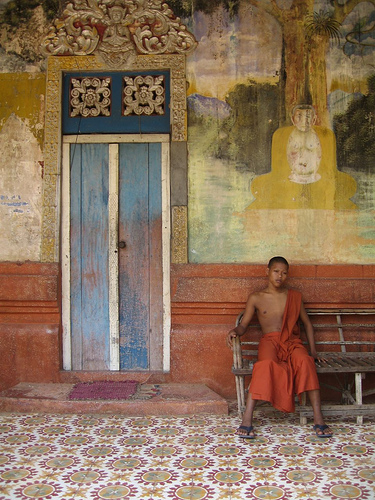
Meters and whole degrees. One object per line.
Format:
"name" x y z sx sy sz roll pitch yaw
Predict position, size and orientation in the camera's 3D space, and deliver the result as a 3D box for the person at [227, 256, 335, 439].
"person" 0.650 0.753 4.994 0.722 1.025 0.695 -1 2 2
